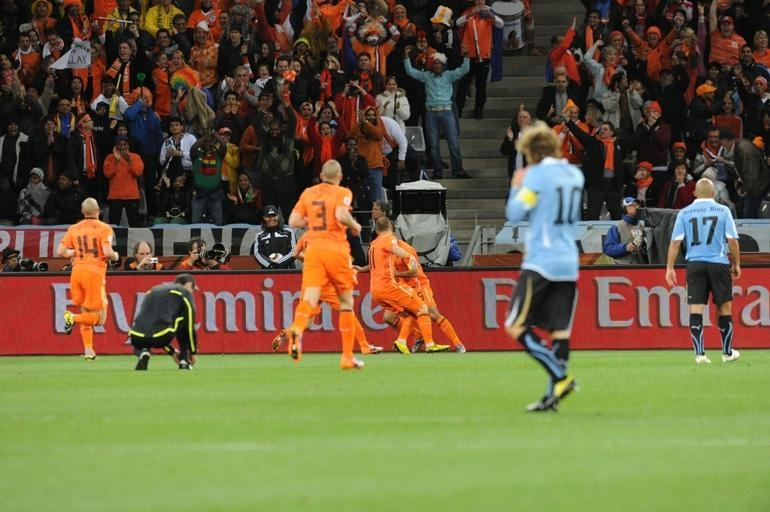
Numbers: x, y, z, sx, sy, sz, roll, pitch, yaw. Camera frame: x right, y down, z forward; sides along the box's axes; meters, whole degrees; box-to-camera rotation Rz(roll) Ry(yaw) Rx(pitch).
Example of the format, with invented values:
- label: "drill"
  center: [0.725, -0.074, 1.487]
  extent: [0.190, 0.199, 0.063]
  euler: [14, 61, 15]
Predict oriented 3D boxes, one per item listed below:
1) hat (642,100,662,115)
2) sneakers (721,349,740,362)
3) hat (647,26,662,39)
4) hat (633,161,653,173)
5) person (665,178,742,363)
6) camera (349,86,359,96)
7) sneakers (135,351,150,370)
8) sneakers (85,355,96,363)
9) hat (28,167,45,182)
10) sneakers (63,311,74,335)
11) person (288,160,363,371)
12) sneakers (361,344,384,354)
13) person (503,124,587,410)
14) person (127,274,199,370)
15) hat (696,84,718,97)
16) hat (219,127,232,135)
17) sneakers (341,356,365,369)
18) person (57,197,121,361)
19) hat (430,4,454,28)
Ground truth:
- label: "hat"
  center: [5.896, -3.327, 32.003]
  extent: [0.265, 0.247, 0.383]
  euler: [2, -20, 8]
- label: "sneakers"
  center: [6.133, 1.751, 25.722]
  extent: [0.190, 0.164, 0.325]
  euler: [-5, 0, 41]
- label: "hat"
  center: [6.242, -5.265, 33.713]
  extent: [0.235, 0.237, 0.314]
  euler: [4, 8, 7]
- label: "hat"
  center: [5.622, -1.976, 31.447]
  extent: [0.321, 0.233, 0.308]
  euler: [0, 5, 16]
- label: "person"
  center: [5.648, 0.239, 25.687]
  extent: [1.181, 3.291, 0.837]
  euler: [-1, 5, 13]
- label: "camera"
  center: [-0.671, -3.706, 32.022]
  extent: [0.133, 0.204, 0.189]
  euler: [32, 30, 31]
- label: "sneakers"
  center: [-4.232, 1.856, 25.447]
  extent: [0.168, 0.444, 0.201]
  euler: [13, 32, -12]
- label: "sneakers"
  center: [-5.548, 1.926, 27.385]
  extent: [0.197, 0.064, 0.138]
  euler: [3, 4, 17]
- label: "hat"
  center: [-7.556, -1.812, 31.547]
  extent: [0.241, 0.282, 0.240]
  euler: [1, 6, 27]
- label: "sneakers"
  center: [-5.972, 1.234, 27.462]
  extent: [0.185, 0.494, 0.230]
  euler: [9, 11, 28]
- label: "person"
  center: [-0.999, 0.138, 24.692]
  extent: [1.138, 3.551, 0.940]
  euler: [-2, 5, -8]
- label: "sneakers"
  center: [-0.206, 1.789, 27.679]
  extent: [0.506, 0.210, 0.180]
  euler: [-6, 12, 5]
- label: "person"
  center: [2.363, 0.168, 21.316]
  extent: [1.145, 4.321, 0.462]
  euler: [-2, 5, -6]
- label: "person"
  center: [-3.835, 1.120, 25.493]
  extent: [1.207, 1.622, 1.225]
  euler: [4, -5, 16]
- label: "hat"
  center: [7.106, -3.731, 32.069]
  extent: [0.353, 0.186, 0.255]
  euler: [-8, 16, 2]
- label: "hat"
  center: [-3.452, -2.764, 31.577]
  extent: [0.277, 0.166, 0.142]
  euler: [-3, 5, -14]
- label: "sneakers"
  center: [-0.547, 1.832, 24.977]
  extent: [0.377, 0.154, 0.192]
  euler: [-4, 5, -16]
- label: "person"
  center: [-5.597, 0.418, 27.495]
  extent: [1.029, 3.092, 1.574]
  euler: [-3, 5, -11]
- label: "hat"
  center: [1.365, -5.636, 33.670]
  extent: [0.551, 0.290, 0.442]
  euler: [19, 32, 11]
